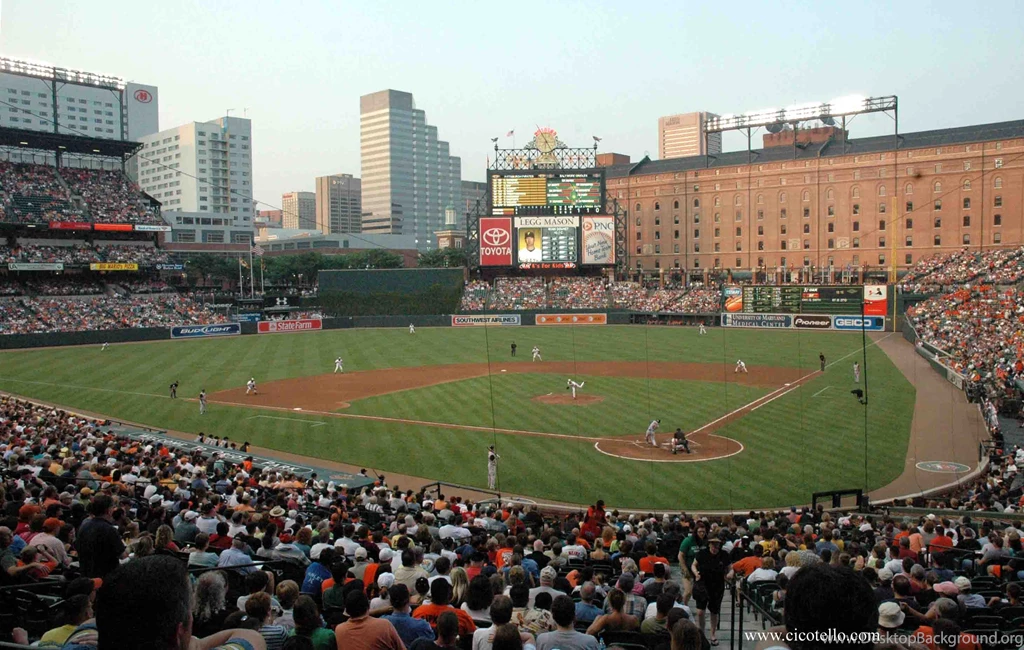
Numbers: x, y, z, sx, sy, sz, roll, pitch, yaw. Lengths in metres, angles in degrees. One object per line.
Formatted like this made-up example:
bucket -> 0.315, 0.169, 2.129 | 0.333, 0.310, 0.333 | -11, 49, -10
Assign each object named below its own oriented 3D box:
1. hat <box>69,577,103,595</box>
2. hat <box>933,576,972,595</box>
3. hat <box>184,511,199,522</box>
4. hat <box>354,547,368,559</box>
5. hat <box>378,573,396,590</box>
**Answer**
hat -> -18.361, 11.236, 45.891 | 1.218, 0.744, 0.598 | -1, 1, -33
hat -> 20.275, 12.050, 49.192 | 1.308, 0.368, 0.842 | -5, 7, 36
hat -> -15.618, 9.309, 51.826 | 0.398, 0.262, 0.542 | 6, 13, 14
hat -> -7.078, 10.680, 49.989 | 0.556, 0.459, 0.723 | 0, 1, -8
hat -> -5.753, 11.736, 48.735 | 0.622, 0.749, 0.794 | -1, 6, -43
